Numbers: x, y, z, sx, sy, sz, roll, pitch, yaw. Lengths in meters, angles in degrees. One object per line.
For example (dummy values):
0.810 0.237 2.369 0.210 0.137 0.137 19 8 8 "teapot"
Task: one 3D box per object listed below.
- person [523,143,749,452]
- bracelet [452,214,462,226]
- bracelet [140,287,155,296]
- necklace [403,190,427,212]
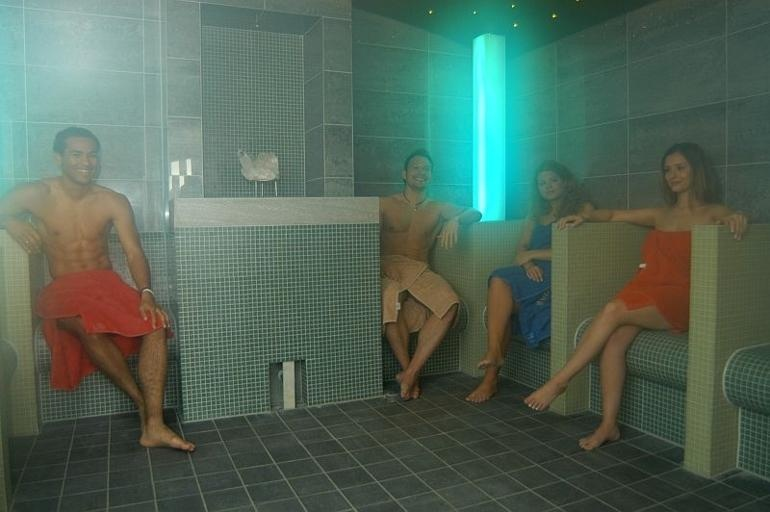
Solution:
1.262 0.186 3.204 1.357 1.384 1.006 -8 5 -30 "person"
0.438 -0.223 3.899 0.027 0.023 0.097 27 48 20 "bracelet"
-1.257 0.190 3.325 0.050 0.022 0.042 6 3 -17 "bracelet"
0.188 -0.354 3.927 0.117 0.131 0.033 -3 -23 -16 "necklace"
